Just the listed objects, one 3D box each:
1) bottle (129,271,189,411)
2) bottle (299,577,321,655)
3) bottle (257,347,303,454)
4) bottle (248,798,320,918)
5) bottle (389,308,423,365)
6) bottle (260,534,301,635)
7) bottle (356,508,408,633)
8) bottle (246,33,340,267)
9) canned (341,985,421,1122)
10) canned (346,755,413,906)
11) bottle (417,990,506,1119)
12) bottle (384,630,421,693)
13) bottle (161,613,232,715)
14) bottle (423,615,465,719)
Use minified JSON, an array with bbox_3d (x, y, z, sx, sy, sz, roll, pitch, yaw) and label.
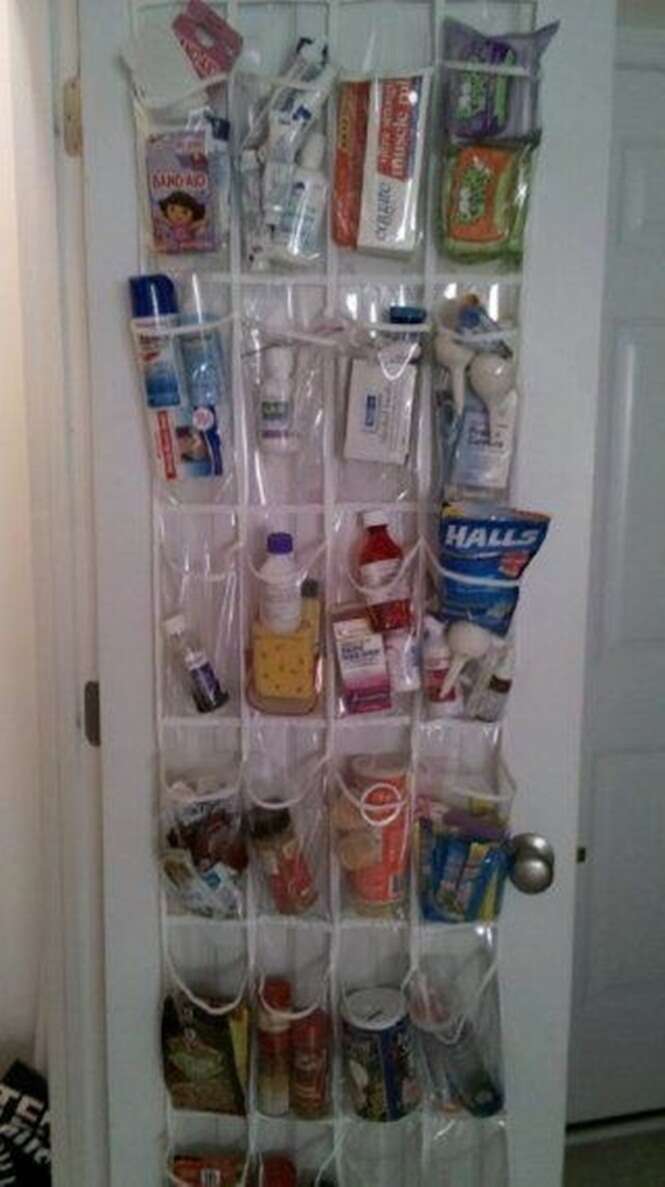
[{"bbox_3d":[-0.178,-0.255,0.959,0.049,0.131,0.032,-7,19,-14],"label":"bottle"},{"bbox_3d":[-0.021,0.026,1.003,0.021,0.074,0.041,-2,20,-1],"label":"bottle"},{"bbox_3d":[-0.056,-0.202,0.976,0.039,0.104,0.032,-3,19,-4],"label":"bottle"},{"bbox_3d":[-0.067,0.306,1.054,0.045,0.134,0.048,-4,18,1],"label":"bottle"},{"bbox_3d":[0.078,-0.263,0.957,0.036,0.054,0.035,-2,20,1],"label":"bottle"},{"bbox_3d":[-0.053,-0.006,0.974,0.045,0.133,0.050,-6,21,-17],"label":"bottle"},{"bbox_3d":[0.058,-0.022,0.993,0.053,0.125,0.047,0,19,6],"label":"bottle"},{"bbox_3d":[-0.043,-0.435,0.932,0.098,0.210,0.061,-4,19,-5],"label":"bottle"},{"bbox_3d":[0.058,0.524,1.077,0.071,0.135,0.071,-18,16,-38],"label":"canned"},{"bbox_3d":[0.052,0.260,1.043,0.056,0.164,0.064,-2,13,-3],"label":"canned"},{"bbox_3d":[0.148,0.522,1.070,0.101,0.131,0.036,-5,5,38],"label":"bottle"},{"bbox_3d":[0.077,0.079,1.008,0.039,0.079,0.022,-8,20,-17],"label":"bottle"},{"bbox_3d":[-0.148,0.080,1.027,0.065,0.112,0.030,-5,19,-7],"label":"bottle"},{"bbox_3d":[0.119,0.075,1.011,0.035,0.116,0.038,-10,19,0],"label":"bottle"}]
